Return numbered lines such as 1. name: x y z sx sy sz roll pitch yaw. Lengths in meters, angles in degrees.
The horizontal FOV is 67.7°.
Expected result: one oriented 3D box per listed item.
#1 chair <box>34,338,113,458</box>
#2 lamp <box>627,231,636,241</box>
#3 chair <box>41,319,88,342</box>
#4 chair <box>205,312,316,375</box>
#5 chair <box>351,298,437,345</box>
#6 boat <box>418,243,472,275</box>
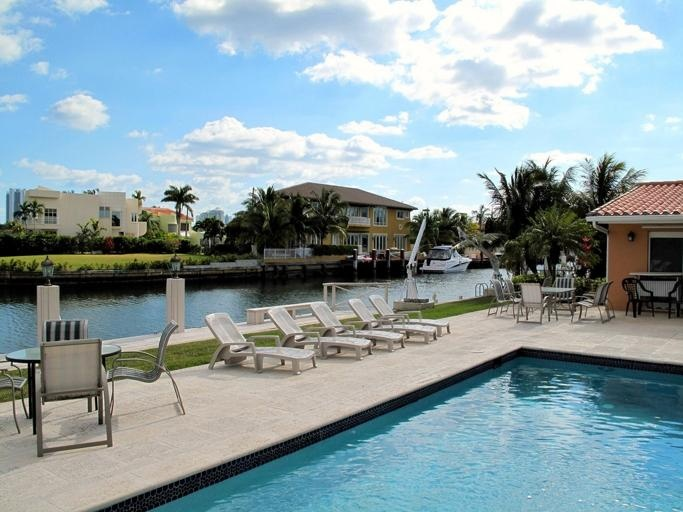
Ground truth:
1. chair: -3.249 1.668 6.194 0.806 0.936 0.883 -1 -1 -24
2. lamp: 9.655 -0.678 16.914 0.230 0.362 0.112 -1 -1 0
3. chair: -3.960 1.057 7.258 0.456 0.322 0.437 6 -10 -41
4. chair: -1.559 1.627 9.739 2.145 0.971 1.019 0 -1 20
5. chair: 1.291 1.567 12.535 2.046 0.806 0.980 1 2 20
6. boat: 12.154 0.130 57.822 3.359 2.585 7.010 -2 -1 34
